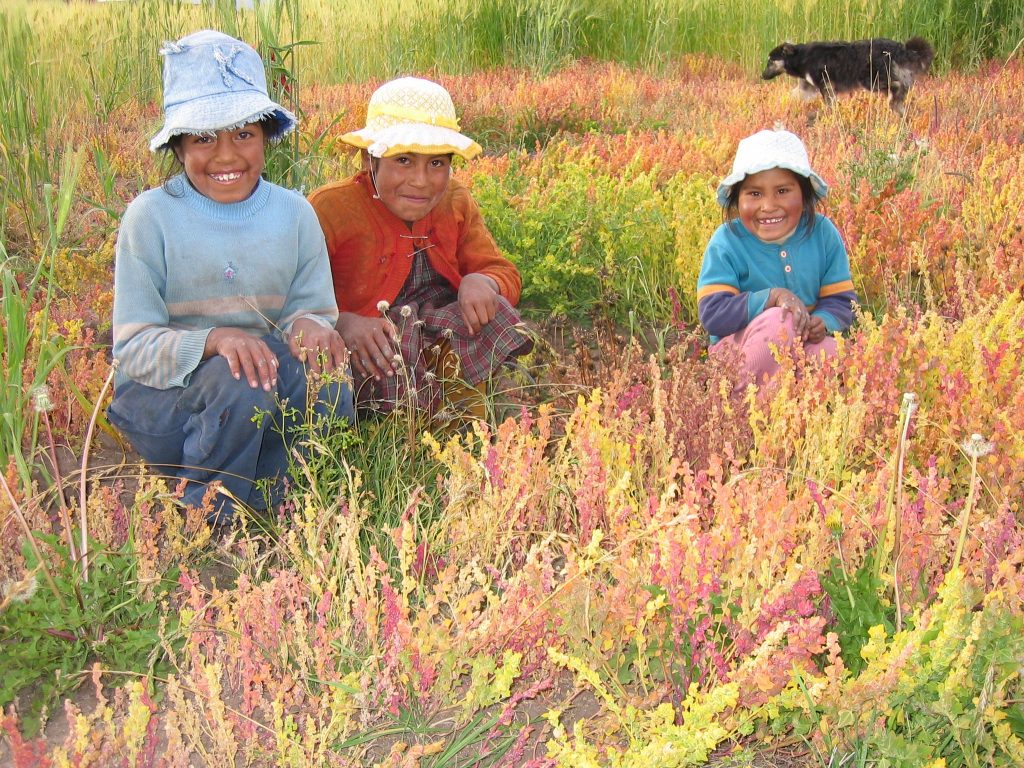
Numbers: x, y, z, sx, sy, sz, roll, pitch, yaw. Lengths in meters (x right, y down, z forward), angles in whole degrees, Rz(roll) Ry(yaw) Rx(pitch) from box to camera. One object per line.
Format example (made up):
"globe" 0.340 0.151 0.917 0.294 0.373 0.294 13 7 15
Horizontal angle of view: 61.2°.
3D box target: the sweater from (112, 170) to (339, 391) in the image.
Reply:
"sweater" -1.094 -0.408 3.399 0.862 0.844 0.502 -11 34 -36

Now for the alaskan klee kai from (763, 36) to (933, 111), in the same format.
"alaskan klee kai" 3.058 -2.797 7.825 1.297 0.894 1.323 1 28 7
